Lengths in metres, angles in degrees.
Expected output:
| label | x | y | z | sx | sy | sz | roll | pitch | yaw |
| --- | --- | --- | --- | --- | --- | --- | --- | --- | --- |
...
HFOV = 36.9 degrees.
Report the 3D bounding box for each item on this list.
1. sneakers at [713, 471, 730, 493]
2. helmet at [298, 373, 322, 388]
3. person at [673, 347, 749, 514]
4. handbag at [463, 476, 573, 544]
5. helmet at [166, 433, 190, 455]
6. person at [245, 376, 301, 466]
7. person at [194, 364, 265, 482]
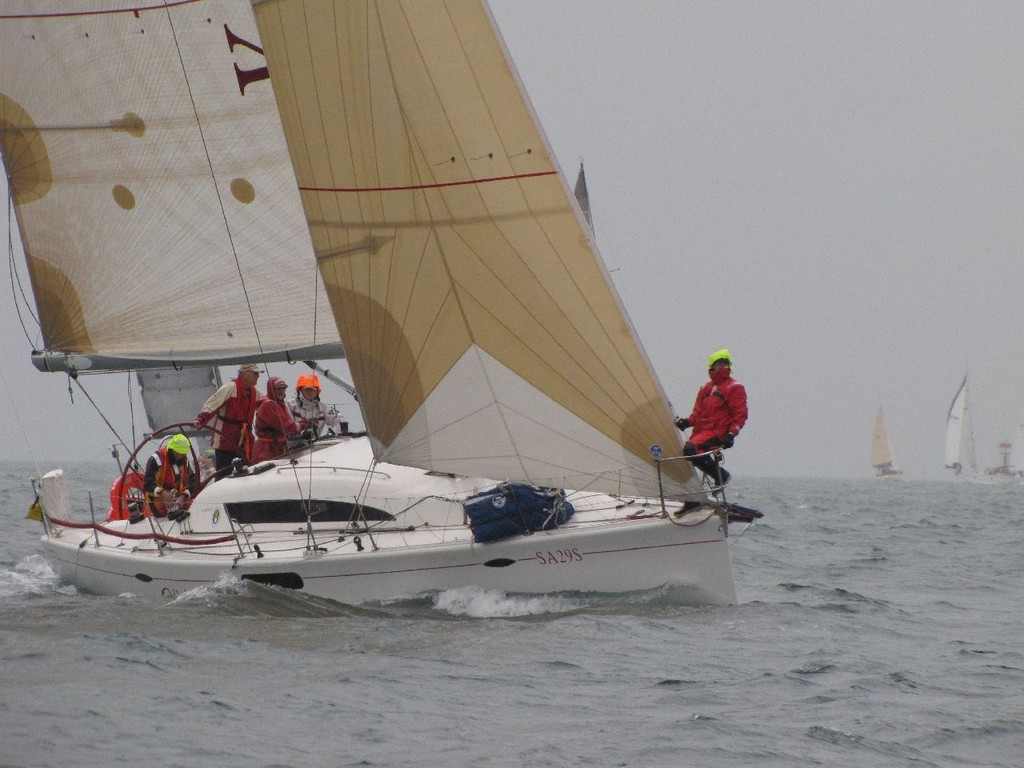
| label | x | y | z | sx | sy | sz | roll | pitch | yaw |
| --- | --- | --- | --- | --- | --- | --- | --- | --- | --- |
| sneakers | 1.737 | 0.790 | 12.450 | 0.160 | 0.158 | 0.180 | 1 | -10 | -3 |
| helmet | -1.922 | -0.037 | 14.532 | 0.192 | 0.128 | 0.255 | 2 | -15 | -8 |
| person | 1.650 | 0.255 | 12.685 | 0.556 | 1.023 | 0.889 | 2 | 11 | 6 |
| handbag | 0.053 | 1.019 | 12.524 | 0.666 | 0.224 | 0.501 | -4 | -2 | -43 |
| helmet | -3.108 | 0.557 | 14.318 | 0.157 | 0.137 | 0.210 | 7 | -10 | 0 |
| person | -2.266 | 0.378 | 14.473 | 0.422 | 1.019 | 0.502 | -10 | 24 | -27 |
| person | -2.692 | 0.392 | 14.650 | 0.376 | 1.226 | 1.015 | 8 | 10 | 23 |
